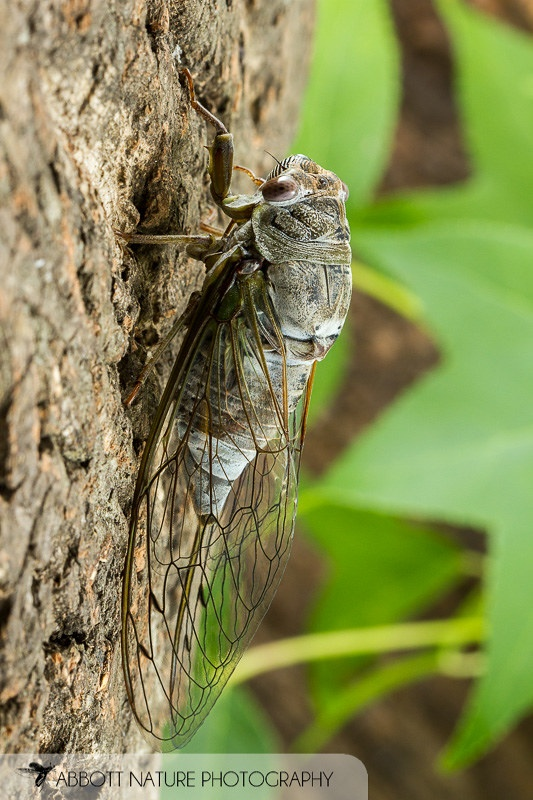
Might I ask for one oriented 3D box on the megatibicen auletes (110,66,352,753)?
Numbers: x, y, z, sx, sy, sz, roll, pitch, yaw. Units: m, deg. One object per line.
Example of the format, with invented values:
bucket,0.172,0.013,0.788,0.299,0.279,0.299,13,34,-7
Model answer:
megatibicen auletes,-0.035,0.027,1.100,0.238,0.736,0.407,10,6,37
